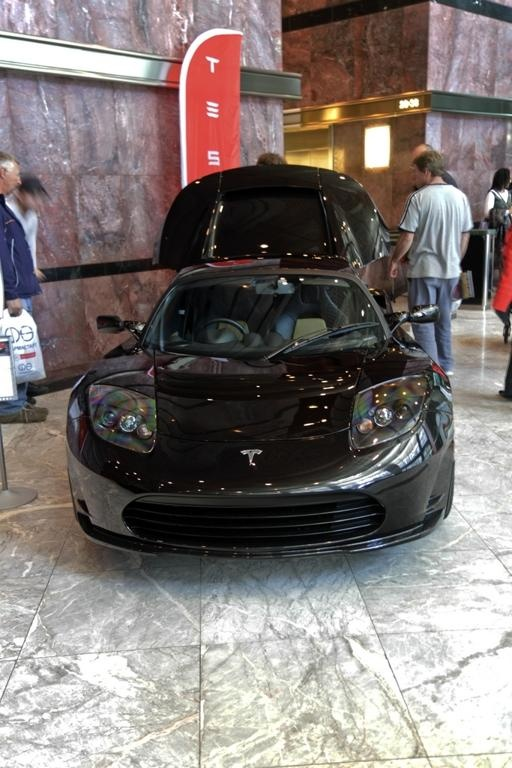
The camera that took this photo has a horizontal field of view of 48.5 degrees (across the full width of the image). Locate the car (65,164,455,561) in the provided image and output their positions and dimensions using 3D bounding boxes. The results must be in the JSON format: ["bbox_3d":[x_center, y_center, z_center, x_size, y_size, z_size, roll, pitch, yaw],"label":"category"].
[{"bbox_3d":[0.149,-0.165,3.140,1.427,1.193,2.829,-1,26,6],"label":"car"}]

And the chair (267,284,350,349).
[{"bbox_3d":[0.258,-0.378,2.770,0.286,0.400,0.356,-1,-15,10],"label":"chair"}]

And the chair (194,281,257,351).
[{"bbox_3d":[-0.147,-0.343,2.844,0.248,0.357,0.165,1,13,4],"label":"chair"}]
